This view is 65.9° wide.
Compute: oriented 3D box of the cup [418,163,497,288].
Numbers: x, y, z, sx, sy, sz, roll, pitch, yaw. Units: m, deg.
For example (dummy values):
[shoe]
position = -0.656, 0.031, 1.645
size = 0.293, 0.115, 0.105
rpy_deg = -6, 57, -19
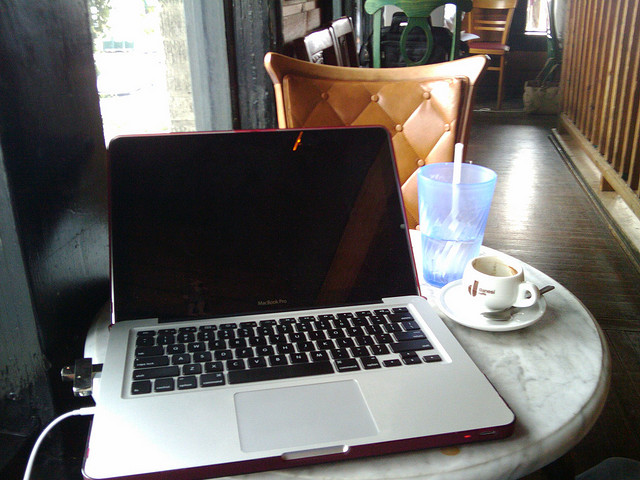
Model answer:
[cup]
position = 0.251, -0.018, 0.935
size = 0.146, 0.211, 0.148
rpy_deg = -1, 22, 1

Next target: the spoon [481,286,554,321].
[spoon]
position = 0.310, 0.102, 0.785
size = 0.127, 0.014, 0.025
rpy_deg = -16, 29, 3

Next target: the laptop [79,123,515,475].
[laptop]
position = -0.062, 0.036, 0.695
size = 0.502, 0.273, 0.493
rpy_deg = -6, 29, -11

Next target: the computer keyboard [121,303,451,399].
[computer keyboard]
position = -0.052, 0.149, 0.708
size = 0.448, 0.010, 0.149
rpy_deg = -4, 28, -8
